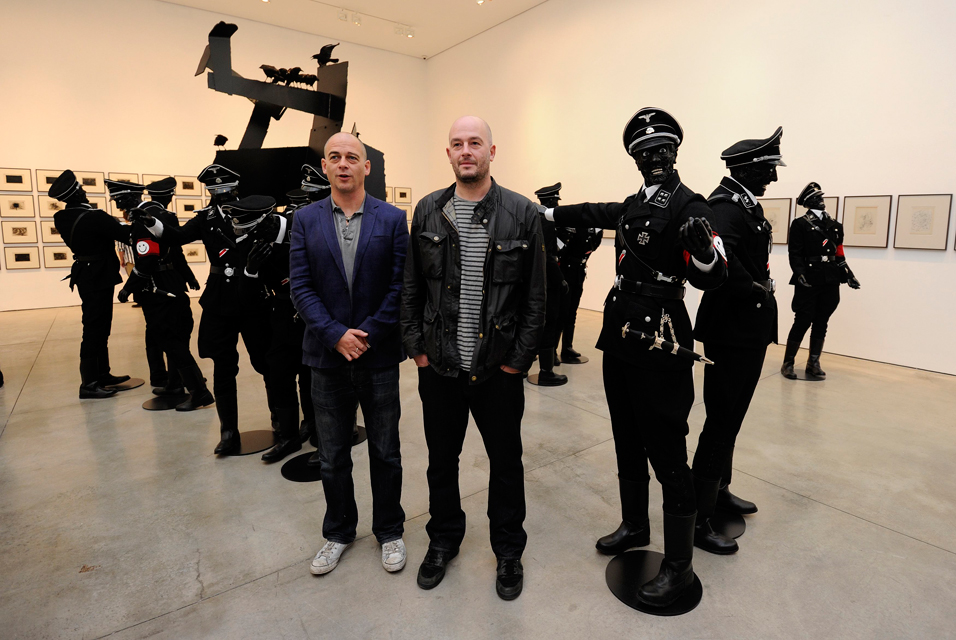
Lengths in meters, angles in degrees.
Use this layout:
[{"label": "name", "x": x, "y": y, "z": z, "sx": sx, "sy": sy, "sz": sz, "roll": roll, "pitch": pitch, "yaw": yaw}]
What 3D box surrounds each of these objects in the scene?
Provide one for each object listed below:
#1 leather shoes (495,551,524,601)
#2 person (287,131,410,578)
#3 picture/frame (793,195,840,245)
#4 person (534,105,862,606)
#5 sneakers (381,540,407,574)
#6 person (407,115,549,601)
[{"label": "leather shoes", "x": 0.232, "y": 1.832, "z": 4.288, "sx": 0.138, "sy": 0.143, "sz": 0.362, "roll": -1, "pitch": 2, "yaw": 1}, {"label": "person", "x": -0.900, "y": 0.242, "z": 4.536, "sx": 0.943, "sy": 3.272, "sz": 0.839, "roll": -2, "pitch": 3, "yaw": -15}, {"label": "picture/frame", "x": 4.193, "y": -1.216, "z": 7.458, "sx": 0.028, "sy": 0.555, "sz": 0.766, "roll": 8, "pitch": -1, "yaw": -36}, {"label": "person", "x": 1.220, "y": 0.225, "z": 4.391, "sx": 1.436, "sy": 3.382, "sz": 1.092, "roll": 4, "pitch": 11, "yaw": 15}, {"label": "sneakers", "x": -0.611, "y": 1.742, "z": 4.467, "sx": 0.113, "sy": 0.110, "sz": 0.276, "roll": -2, "pitch": -3, "yaw": -8}, {"label": "person", "x": -0.050, "y": 0.280, "z": 4.258, "sx": 1.007, "sy": 3.304, "sz": 0.626, "roll": 2, "pitch": 11, "yaw": 5}]
